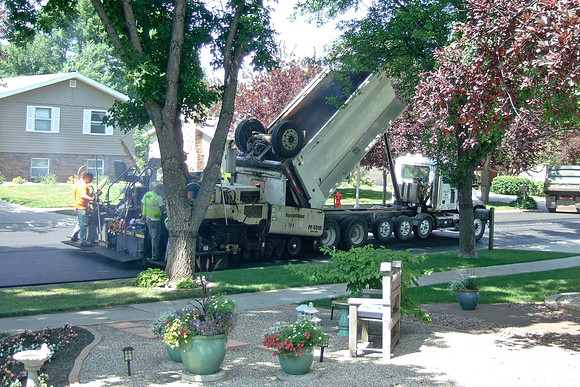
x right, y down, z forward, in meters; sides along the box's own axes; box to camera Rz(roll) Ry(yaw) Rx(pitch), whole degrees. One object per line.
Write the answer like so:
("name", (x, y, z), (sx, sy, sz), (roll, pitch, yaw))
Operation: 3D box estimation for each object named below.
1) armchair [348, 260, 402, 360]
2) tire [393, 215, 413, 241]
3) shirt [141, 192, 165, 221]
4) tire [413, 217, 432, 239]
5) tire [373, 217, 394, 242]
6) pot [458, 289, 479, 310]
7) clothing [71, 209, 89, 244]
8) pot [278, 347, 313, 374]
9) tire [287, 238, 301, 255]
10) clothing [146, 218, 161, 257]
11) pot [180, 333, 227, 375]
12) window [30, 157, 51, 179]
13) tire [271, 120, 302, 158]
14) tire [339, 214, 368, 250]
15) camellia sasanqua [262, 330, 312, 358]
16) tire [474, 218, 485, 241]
("armchair", (1.655, 2.196, 8.919), (1.215, 2.255, 2.343), (0, -3, 14))
("tire", (4.546, 1.326, 19.285), (0.977, 0.993, 0.315), (-6, 20, -37))
("shirt", (-3.830, 0.316, 13.426), (0.864, 0.811, 0.469), (9, 10, 22))
("tire", (5.516, 1.386, 19.982), (0.935, 0.950, 0.280), (-2, 19, -37))
("tire", (3.612, 1.343, 18.623), (0.948, 0.963, 0.272), (-7, 17, -40))
("pot", (3.891, 2.337, 10.559), (0.428, 0.393, 0.419), (-1, 0, 0))
("clothing", (-6.797, 1.079, 15.531), (0.455, 1.102, 0.813), (2, -3, -25))
("pot", (0.108, 2.559, 7.187), (0.443, 0.293, 0.430), (-1, -6, 0))
("tire", (0.119, 1.781, 16.393), (0.597, 0.605, 0.213), (3, -1, -38))
("clothing", (-3.788, 1.271, 13.383), (0.394, 1.304, 0.459), (3, -18, -39))
("pot", (-1.291, 2.391, 7.104), (0.671, 0.576, 0.235), (1, -3, -11))
("window", (-18.932, -1.922, 36.157), (1.480, 1.319, 0.148), (-13, -1, -44))
("tire", (-0.100, -1.704, 15.238), (1.156, 1.175, 0.444), (-5, 13, -36))
("tire", (2.195, 1.363, 16.886), (1.287, 1.302, 0.414), (1, -6, -42))
("camellia sasanqua", (-0.032, 2.279, 7.233), (0.733, 0.381, 0.272), (0, -3, 10))
("tire", (8.210, 1.521, 20.800), (0.283, 0.810, 0.817), (5, -33, 41))
